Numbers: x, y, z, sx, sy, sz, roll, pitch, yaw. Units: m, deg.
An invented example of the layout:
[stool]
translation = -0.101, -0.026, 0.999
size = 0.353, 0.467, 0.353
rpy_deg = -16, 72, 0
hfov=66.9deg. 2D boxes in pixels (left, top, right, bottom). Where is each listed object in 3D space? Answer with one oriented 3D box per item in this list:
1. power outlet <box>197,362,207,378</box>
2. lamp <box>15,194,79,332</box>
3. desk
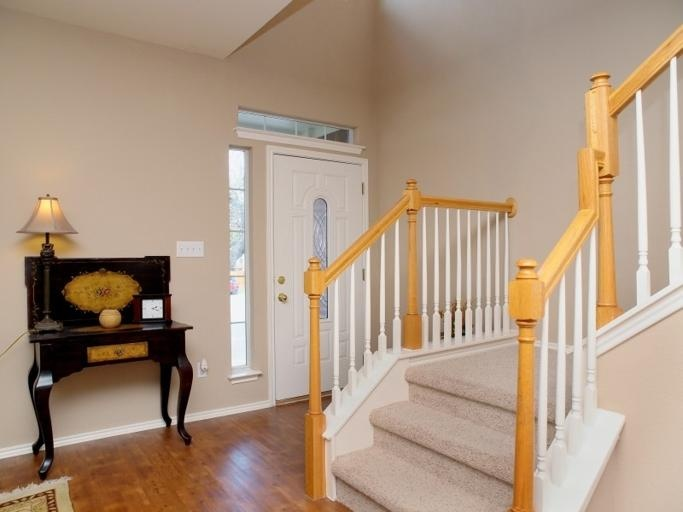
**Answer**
[power outlet]
translation = -1.175, 0.943, 4.368
size = 0.078, 0.160, 0.029
rpy_deg = -2, 5, -16
[lamp]
translation = -2.103, 0.031, 3.714
size = 0.351, 0.954, 0.376
rpy_deg = -4, 6, -30
[desk]
translation = -1.703, 0.727, 3.828
size = 1.027, 1.512, 0.502
rpy_deg = -2, 2, -37
